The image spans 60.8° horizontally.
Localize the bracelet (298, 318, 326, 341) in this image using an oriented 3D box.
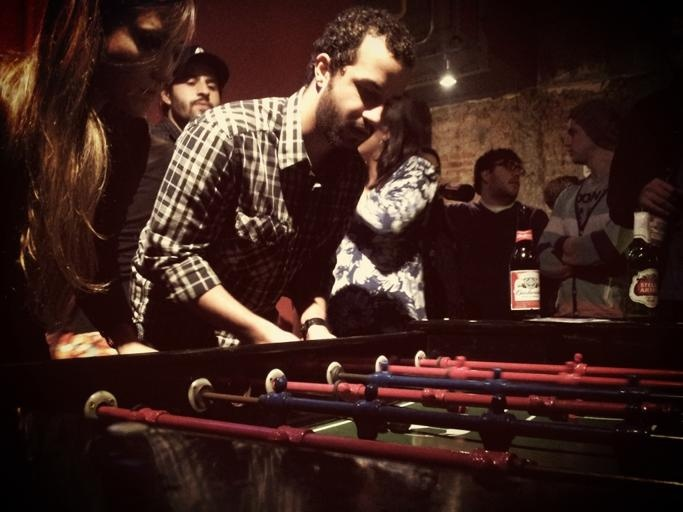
[{"bbox_3d":[-0.102,0.267,2.087,0.077,0.059,0.081,12,-29,-20],"label":"bracelet"}]
